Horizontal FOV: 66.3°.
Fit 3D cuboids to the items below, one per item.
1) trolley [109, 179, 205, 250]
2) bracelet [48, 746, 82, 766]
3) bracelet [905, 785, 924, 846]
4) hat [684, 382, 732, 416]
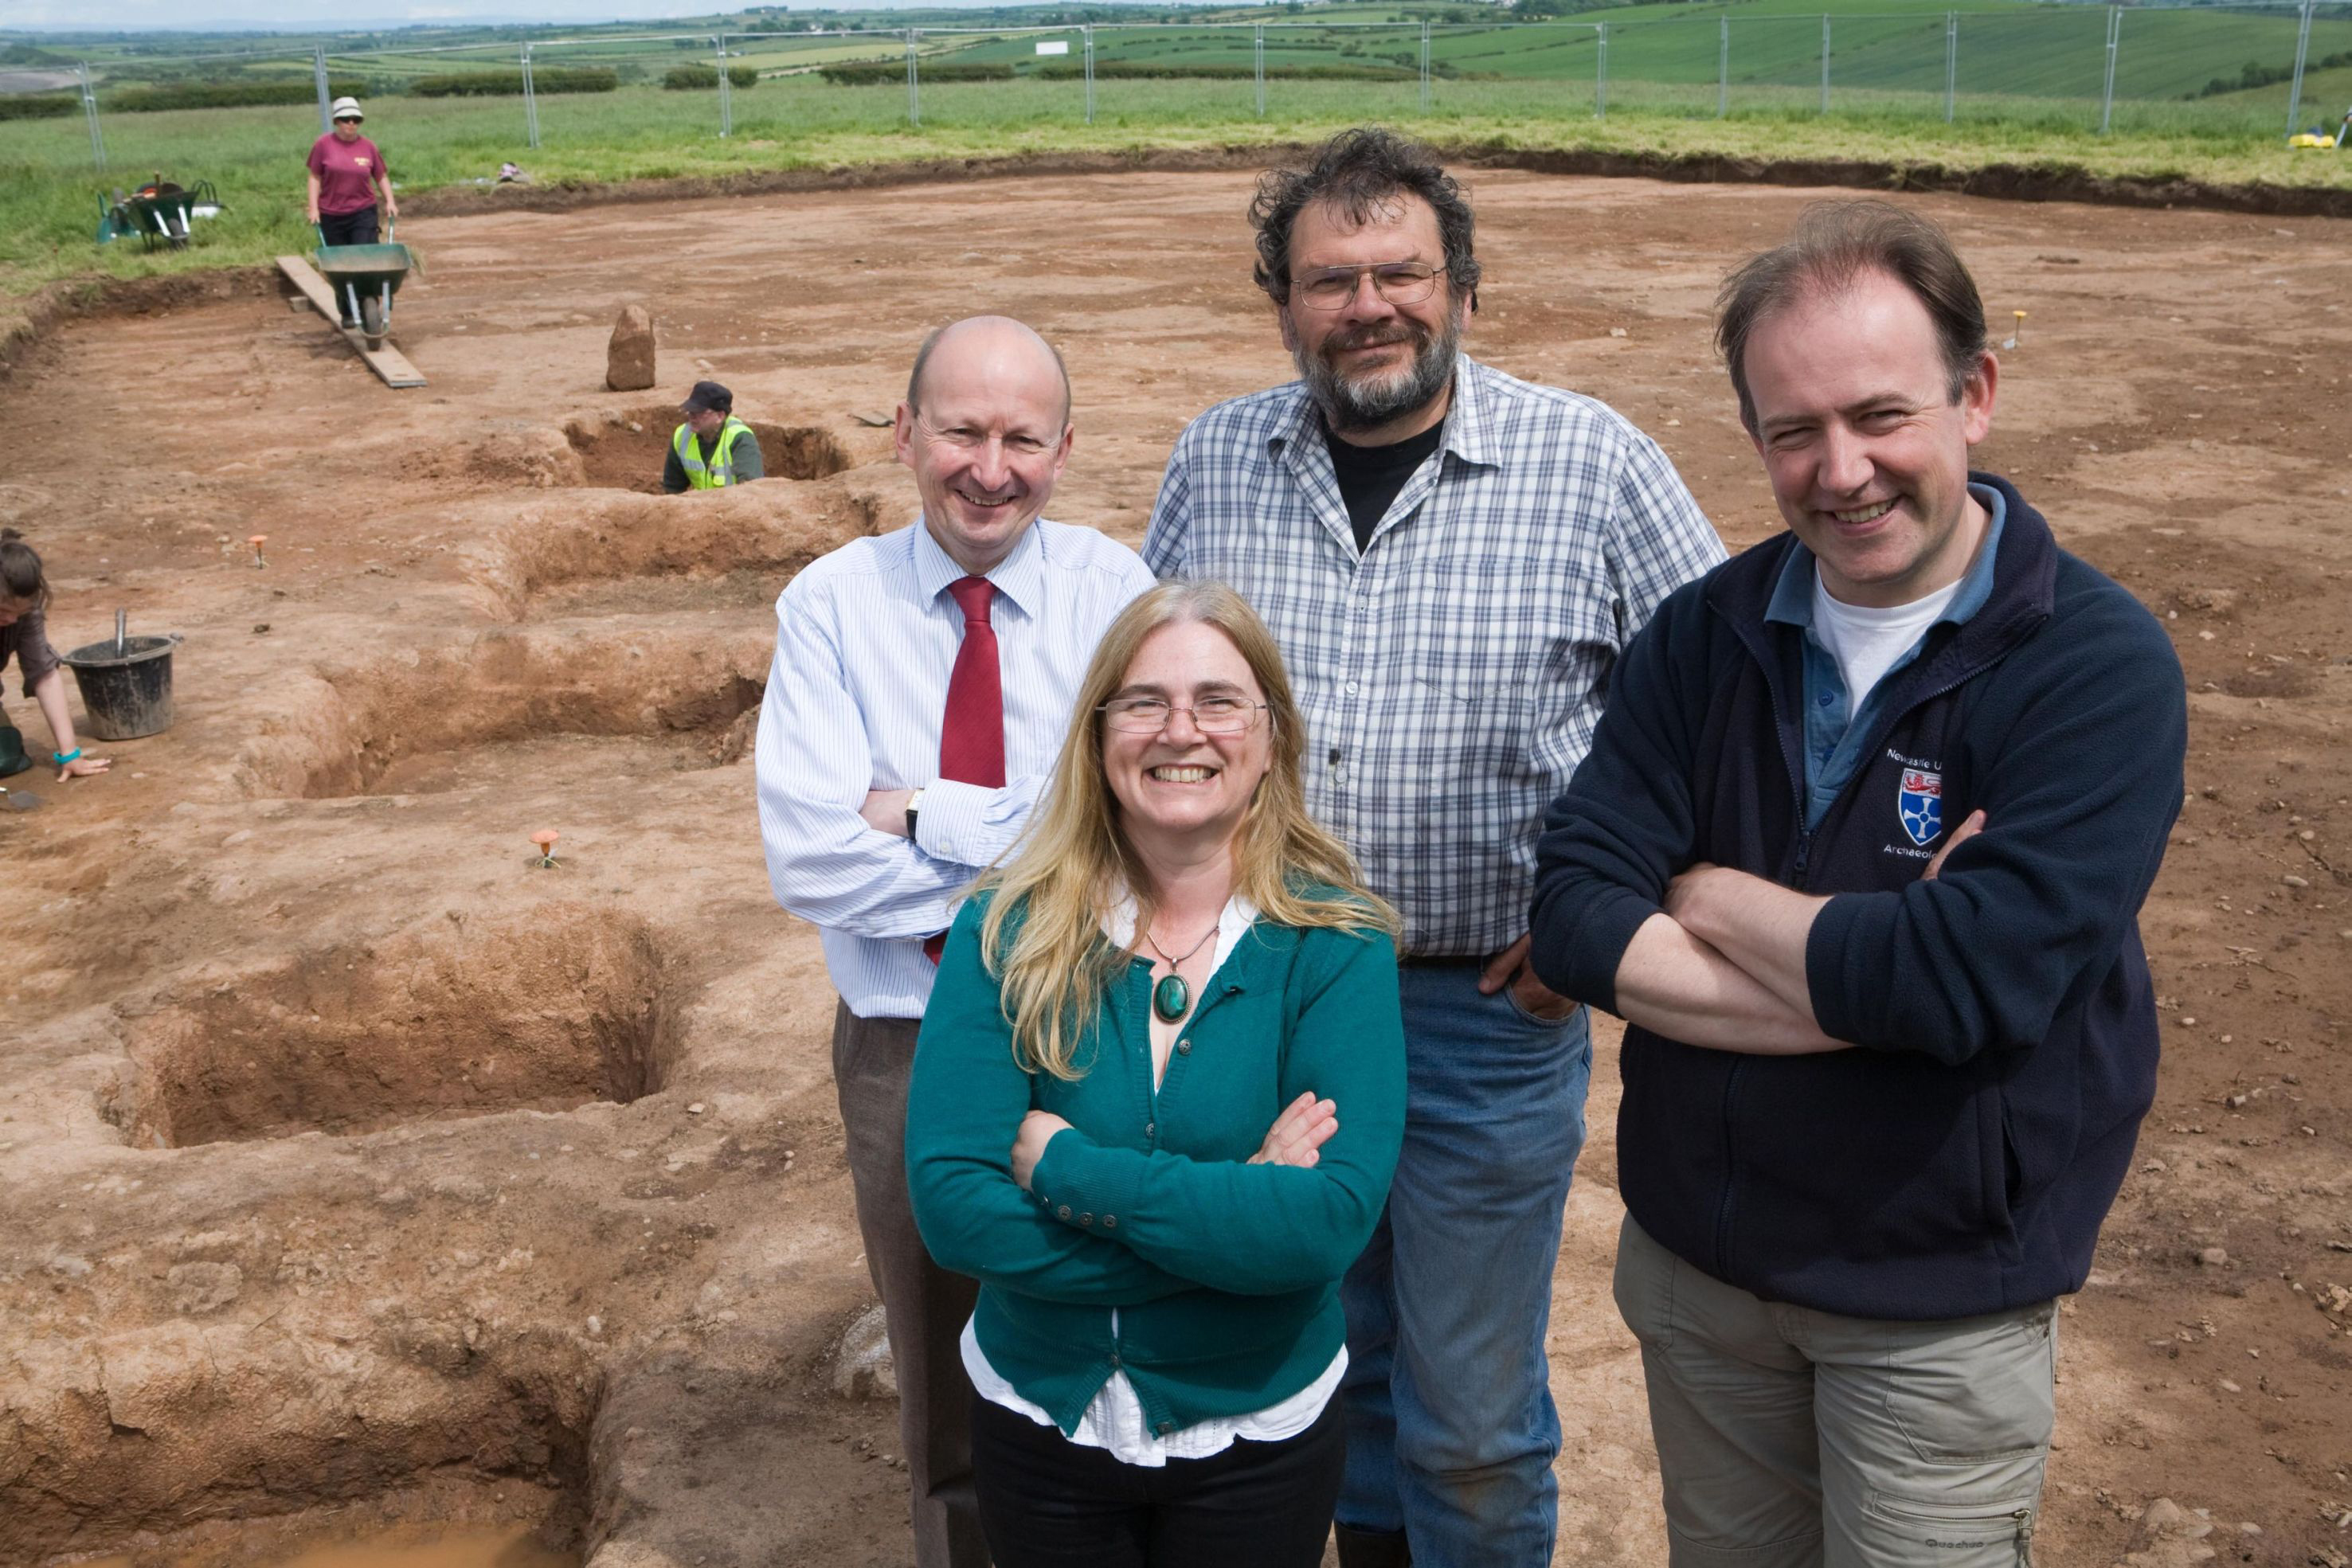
[{"bbox_3d":[-16.802,-9.461,29.823,1.391,0.658,2.110,-6,16,-24],"label":"trolley"},{"bbox_3d":[-6.391,-0.182,10.411,0.153,0.077,0.172,-2,0,-22],"label":"bracelet"},{"bbox_3d":[-0.705,0.089,4.805,0.033,0.094,0.106,9,-18,-2],"label":"bracelet"},{"bbox_3d":[-4.182,-3.452,16.163,0.315,0.296,0.523,-9,17,-16],"label":"hat"}]
